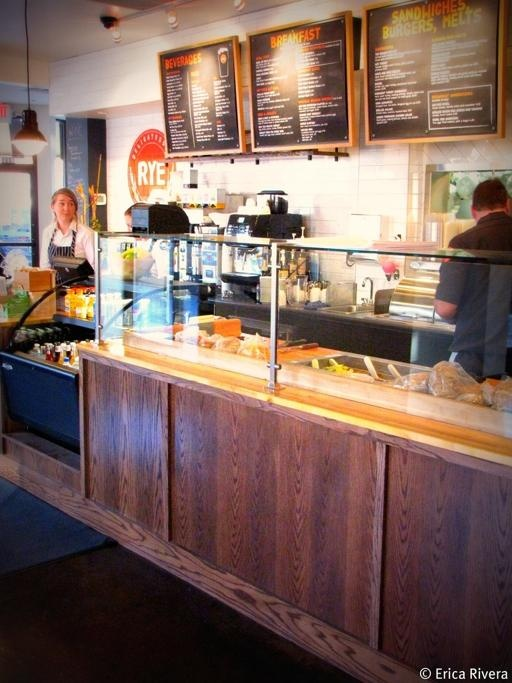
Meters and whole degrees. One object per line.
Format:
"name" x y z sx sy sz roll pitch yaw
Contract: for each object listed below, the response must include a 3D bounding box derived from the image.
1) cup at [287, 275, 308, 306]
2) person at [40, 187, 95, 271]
"cup" 0.146 -0.164 1.784 0.059 0.110 0.109 7 13 24
"person" -1.923 -1.159 5.348 0.455 0.769 0.877 1 2 -22
